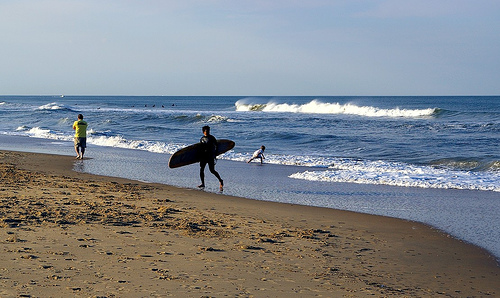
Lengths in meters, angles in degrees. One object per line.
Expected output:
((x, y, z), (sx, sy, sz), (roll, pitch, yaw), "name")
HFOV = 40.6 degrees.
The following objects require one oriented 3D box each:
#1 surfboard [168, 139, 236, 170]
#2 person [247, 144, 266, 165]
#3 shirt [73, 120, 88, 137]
((-1.606, 0.112, 22.917), (3.095, 0.746, 0.271), (-14, -31, 27), "surfboard")
((0.389, 0.068, 29.179), (0.408, 0.646, 1.425), (4, 22, 27), "person")
((-6.604, -0.797, 26.269), (0.470, 0.705, 0.644), (4, 7, -11), "shirt")
